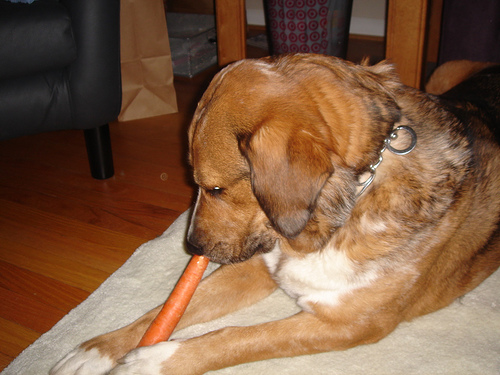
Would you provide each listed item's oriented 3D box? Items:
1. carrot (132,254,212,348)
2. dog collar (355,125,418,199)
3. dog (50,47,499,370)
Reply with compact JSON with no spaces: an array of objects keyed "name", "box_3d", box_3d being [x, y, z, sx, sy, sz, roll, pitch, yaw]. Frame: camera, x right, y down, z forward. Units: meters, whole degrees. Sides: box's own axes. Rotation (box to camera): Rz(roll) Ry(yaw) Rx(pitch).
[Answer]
[{"name":"carrot","box_3d":[-0.356,0.529,2.076,0.093,0.065,0.470,20,57,23]},{"name":"dog collar","box_3d":[0.537,-0.128,1.725,0.138,0.054,0.389,37,67,16]},{"name":"dog","box_3d":[0.107,0.136,2.017,1.895,0.696,0.827,-26,44,-3]}]
